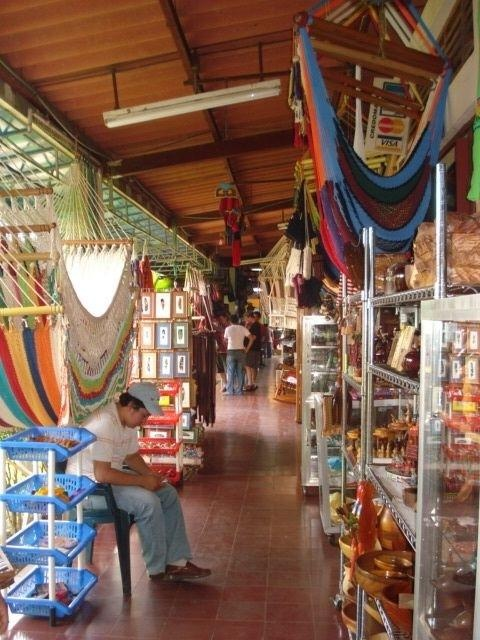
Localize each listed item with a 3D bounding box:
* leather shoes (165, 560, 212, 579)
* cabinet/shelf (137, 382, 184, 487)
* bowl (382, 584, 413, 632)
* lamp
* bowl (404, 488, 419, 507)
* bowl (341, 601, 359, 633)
[{"bbox_3d":[-0.279,1.321,2.975,0.222,0.110,0.099,1,-28,-2],"label":"leather shoes"},{"bbox_3d":[-0.656,0.971,4.815,0.259,0.832,0.452,2,-7,-9],"label":"cabinet/shelf"},{"bbox_3d":[0.406,0.740,1.473,0.081,0.110,0.114,1,1,9],"label":"bowl"},{"bbox_3d":[-0.610,-1.474,3.887,0.984,0.123,0.110,5,-21,39],"label":"lamp"},{"bbox_3d":[0.463,0.481,1.516,0.037,0.047,0.040,0,-9,0],"label":"bowl"},{"bbox_3d":[0.434,1.165,2.192,0.082,0.047,0.121,1,-7,0],"label":"bowl"}]
